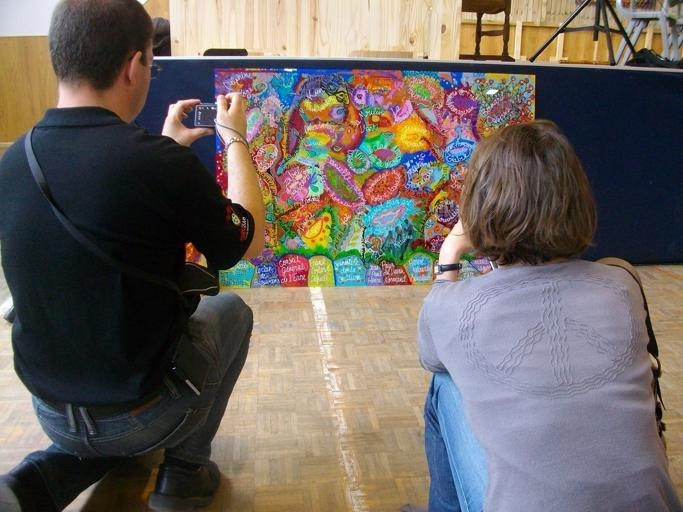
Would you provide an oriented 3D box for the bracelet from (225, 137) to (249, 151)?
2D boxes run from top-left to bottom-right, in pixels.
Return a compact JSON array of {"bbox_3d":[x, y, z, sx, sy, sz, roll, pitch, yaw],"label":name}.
[{"bbox_3d":[-0.301,-0.323,1.332,0.051,0.019,0.057,-1,-2,6],"label":"bracelet"}]

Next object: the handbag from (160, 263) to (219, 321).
[{"bbox_3d":[-0.401,0.077,1.216,0.042,0.113,0.119,-1,-8,39],"label":"handbag"}]
